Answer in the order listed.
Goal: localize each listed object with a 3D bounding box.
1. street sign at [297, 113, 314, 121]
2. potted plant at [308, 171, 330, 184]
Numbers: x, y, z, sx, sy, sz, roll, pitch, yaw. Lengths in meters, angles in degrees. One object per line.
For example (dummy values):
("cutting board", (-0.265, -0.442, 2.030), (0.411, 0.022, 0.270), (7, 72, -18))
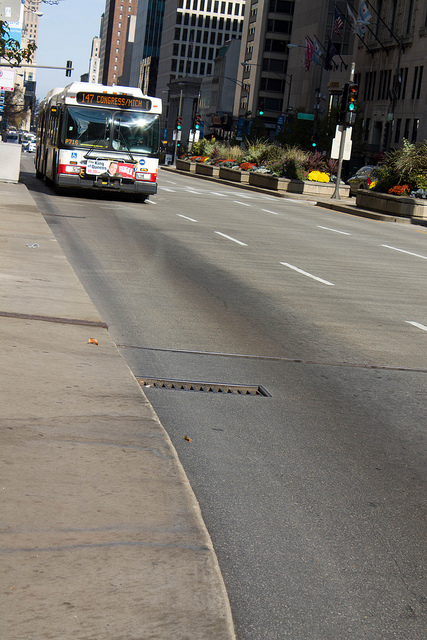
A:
("street sign", (12.157, -27.037, 75.409), (1.597, 0.344, 1.432), (9, 8, 10))
("potted plant", (8.615, -11.770, 46.323), (1.746, 0.833, 1.770), (10, 7, -18))
